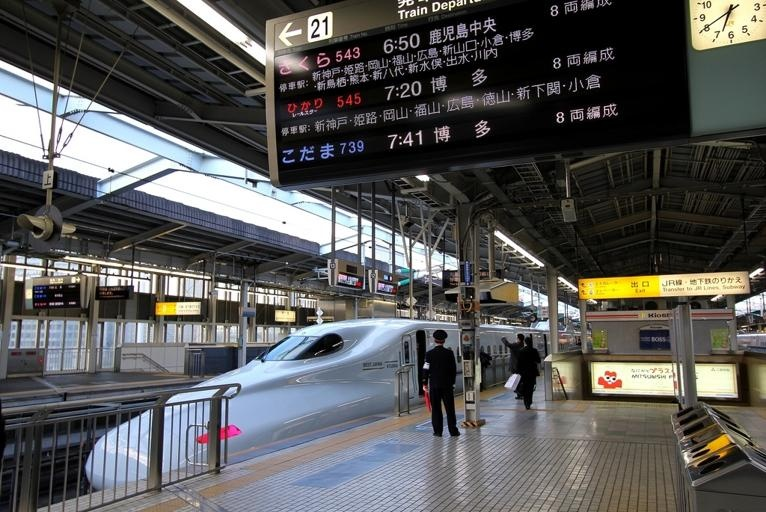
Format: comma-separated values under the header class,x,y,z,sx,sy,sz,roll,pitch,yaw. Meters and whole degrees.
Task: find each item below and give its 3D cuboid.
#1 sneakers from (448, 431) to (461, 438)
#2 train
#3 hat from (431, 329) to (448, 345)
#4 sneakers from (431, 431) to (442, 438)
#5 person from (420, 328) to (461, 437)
class,x,y,z,sx,sy,sz,roll,pitch,yaw
sneakers,1.475,3.646,10.771,0.188,0.093,0.234,-4,-4,4
train,-1.238,3.220,13.769,3.003,2.322,13.869,-12,-17,30
hat,1.205,1.752,11.113,0.404,0.169,0.445,5,6,9
sneakers,1.116,3.662,10.762,0.172,0.070,0.126,-4,-4,4
person,1.222,2.679,11.106,0.705,2.211,0.807,-4,-3,4
